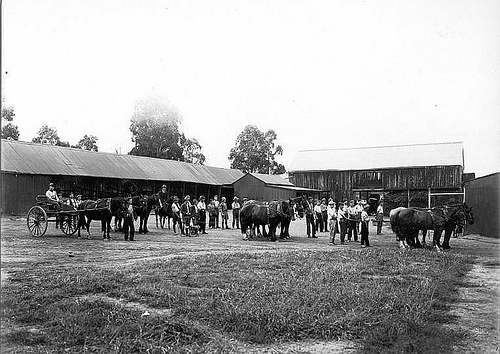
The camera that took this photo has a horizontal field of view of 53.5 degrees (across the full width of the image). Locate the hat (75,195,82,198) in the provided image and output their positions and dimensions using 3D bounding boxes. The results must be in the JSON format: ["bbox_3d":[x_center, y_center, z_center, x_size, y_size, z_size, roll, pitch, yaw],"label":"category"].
[{"bbox_3d":[-9.147,1.025,26.435,0.274,0.078,0.294,-3,1,5],"label":"hat"}]

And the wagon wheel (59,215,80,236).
[{"bbox_3d":[-8.376,2.231,22.989,0.831,0.936,0.251,6,6,36],"label":"wagon wheel"}]

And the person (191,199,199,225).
[{"bbox_3d":[-2.883,1.892,26.062,0.364,1.338,1.063,1,2,-5],"label":"person"}]

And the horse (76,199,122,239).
[{"bbox_3d":[-6.728,1.823,22.154,2.905,1.884,0.866,0,-4,29],"label":"horse"}]

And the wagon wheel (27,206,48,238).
[{"bbox_3d":[-9.389,1.994,21.937,0.314,1.353,1.223,2,-3,-39],"label":"wagon wheel"}]

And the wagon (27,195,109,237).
[{"bbox_3d":[-9.132,1.795,22.323,3.614,1.674,2.082,-9,-9,30],"label":"wagon"}]

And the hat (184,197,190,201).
[{"bbox_3d":[-3.236,1.104,25.421,0.196,0.230,0.454,0,2,-13],"label":"hat"}]

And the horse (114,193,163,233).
[{"bbox_3d":[-5.948,1.897,26.357,2.483,2.029,5.419,0,2,-11],"label":"horse"}]

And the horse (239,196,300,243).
[{"bbox_3d":[0.817,2.004,24.627,2.820,2.505,1.078,4,14,10],"label":"horse"}]

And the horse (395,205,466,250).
[{"bbox_3d":[7.314,1.988,20.227,2.503,1.772,0.845,1,2,4],"label":"horse"}]

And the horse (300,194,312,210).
[{"bbox_3d":[2.825,1.327,25.152,0.271,1.095,0.395,-2,1,-41],"label":"horse"}]

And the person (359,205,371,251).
[{"bbox_3d":[5.137,2.381,22.041,0.558,1.858,0.486,-1,21,12],"label":"person"}]
